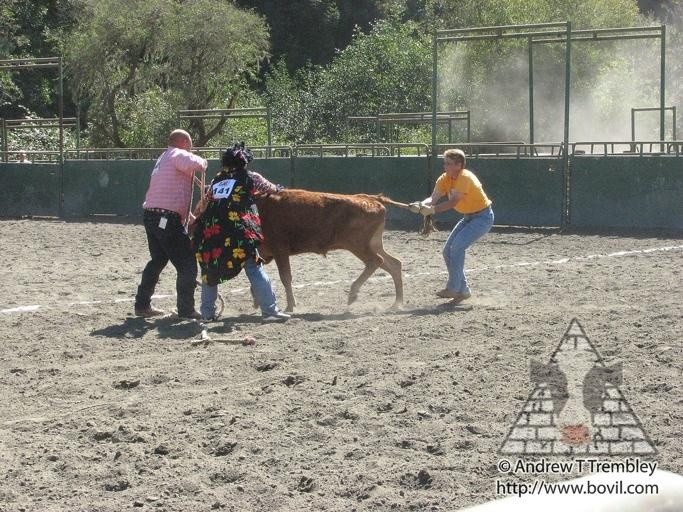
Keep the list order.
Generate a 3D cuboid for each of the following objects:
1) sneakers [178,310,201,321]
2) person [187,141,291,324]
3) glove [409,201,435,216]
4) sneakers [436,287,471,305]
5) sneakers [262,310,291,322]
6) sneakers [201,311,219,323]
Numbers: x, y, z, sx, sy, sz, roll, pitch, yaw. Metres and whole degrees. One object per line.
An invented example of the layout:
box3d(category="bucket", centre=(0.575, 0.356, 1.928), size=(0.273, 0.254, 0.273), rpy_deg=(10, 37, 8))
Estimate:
box3d(category="sneakers", centre=(-1.870, 0.740, 12.248), size=(0.198, 0.071, 0.124), rpy_deg=(-4, 1, -9))
box3d(category="person", centre=(-1.274, -0.266, 12.045), size=(1.037, 2.140, 0.791), rpy_deg=(-7, 12, -31))
box3d(category="glove", centre=(1.033, -0.596, 12.791), size=(0.206, 0.109, 0.275), rpy_deg=(12, 4, -28))
box3d(category="sneakers", centre=(1.455, 0.527, 12.966), size=(0.522, 0.235, 0.186), rpy_deg=(10, 4, -10))
box3d(category="sneakers", centre=(-0.798, 0.738, 12.218), size=(0.382, 0.154, 0.129), rpy_deg=(-2, -4, -1))
box3d(category="sneakers", centre=(-1.615, 0.748, 12.232), size=(0.126, 0.100, 0.171), rpy_deg=(-1, -5, 13))
